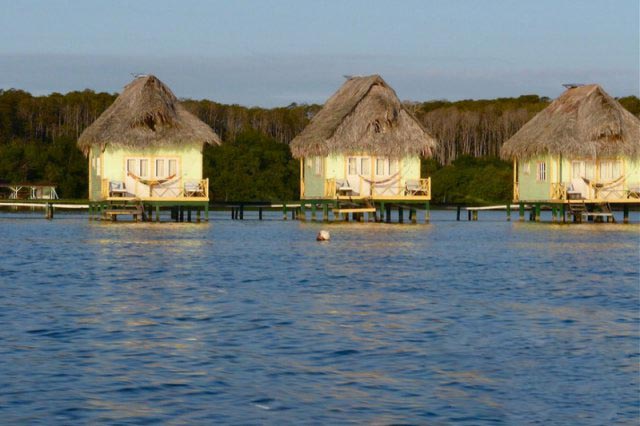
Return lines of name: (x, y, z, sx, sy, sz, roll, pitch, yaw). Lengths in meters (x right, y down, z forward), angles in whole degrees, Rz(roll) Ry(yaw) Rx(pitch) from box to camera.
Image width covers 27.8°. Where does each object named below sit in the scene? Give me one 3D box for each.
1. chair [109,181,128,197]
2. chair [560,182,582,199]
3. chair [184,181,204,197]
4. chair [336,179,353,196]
chair: (-7.921, -1.025, 55.006, 0.716, 0.691, 0.794, 0, -2, -10)
chair: (10.873, -0.959, 56.728, 0.793, 0.690, 0.761, 2, -3, -23)
chair: (-4.949, -1.024, 55.833, 0.740, 0.648, 0.681, 1, -3, -15)
chair: (1.266, -1.088, 54.997, 0.740, 0.640, 0.700, 1, -2, -6)
